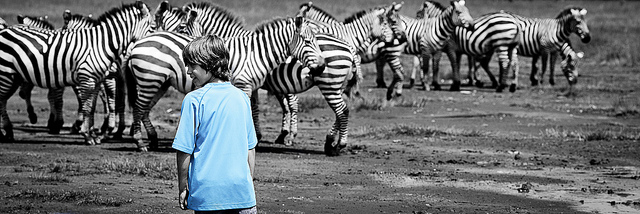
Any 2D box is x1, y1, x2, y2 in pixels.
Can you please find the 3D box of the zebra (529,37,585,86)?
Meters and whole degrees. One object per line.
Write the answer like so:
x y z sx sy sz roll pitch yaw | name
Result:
16.338 -2.816 52.929 2.698 3.308 4.387 1 2 5 | zebra
